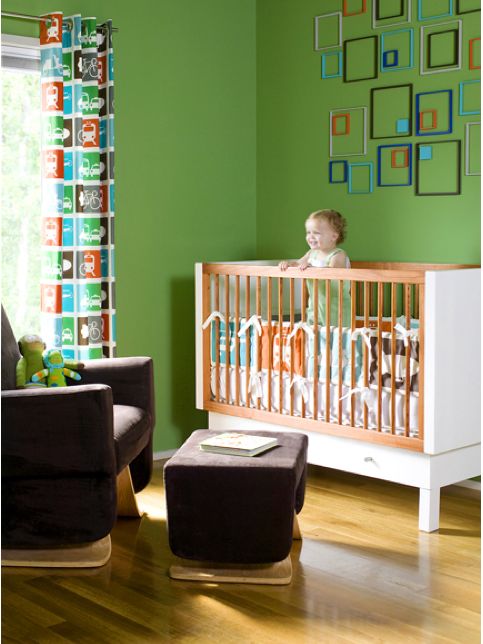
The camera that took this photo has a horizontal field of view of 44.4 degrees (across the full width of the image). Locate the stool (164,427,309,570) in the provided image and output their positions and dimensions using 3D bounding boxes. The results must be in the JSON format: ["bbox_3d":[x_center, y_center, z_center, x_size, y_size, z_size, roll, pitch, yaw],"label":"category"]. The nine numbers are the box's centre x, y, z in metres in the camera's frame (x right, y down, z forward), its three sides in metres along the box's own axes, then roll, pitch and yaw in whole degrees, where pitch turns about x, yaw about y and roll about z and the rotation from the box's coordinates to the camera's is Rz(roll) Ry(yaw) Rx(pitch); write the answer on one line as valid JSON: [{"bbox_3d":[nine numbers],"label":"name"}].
[{"bbox_3d":[-0.007,0.477,1.675,0.333,0.230,0.337,0,3,4],"label":"stool"}]

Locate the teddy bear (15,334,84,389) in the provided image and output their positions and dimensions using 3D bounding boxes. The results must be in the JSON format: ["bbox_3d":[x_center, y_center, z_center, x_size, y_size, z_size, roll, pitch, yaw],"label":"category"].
[{"bbox_3d":[-0.694,0.162,2.131,0.243,0.228,0.124,-3,-4,-37],"label":"teddy bear"}]
